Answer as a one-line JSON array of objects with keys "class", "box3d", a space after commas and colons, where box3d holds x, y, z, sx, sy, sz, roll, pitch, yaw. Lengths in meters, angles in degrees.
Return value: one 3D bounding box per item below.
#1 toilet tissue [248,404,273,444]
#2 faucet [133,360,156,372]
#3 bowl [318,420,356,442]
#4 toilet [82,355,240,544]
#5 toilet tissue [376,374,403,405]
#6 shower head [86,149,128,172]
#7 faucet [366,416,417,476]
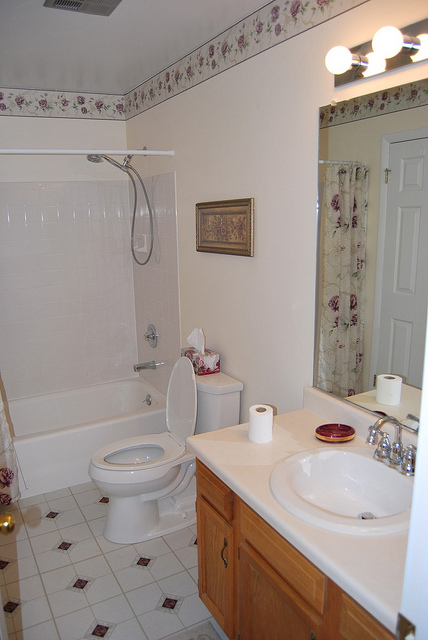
[{"class": "toilet tissue", "box3d": [0.153, 0.342, 1.541, 0.082, 0.112, 0.102, -4, 14, -24]}, {"class": "faucet", "box3d": [-0.475, 0.319, 3.131, 0.144, 0.082, 0.087, -6, 11, -27]}, {"class": "bowl", "box3d": [0.406, 0.373, 1.503, 0.113, 0.029, 0.115, -2, 8, 0]}, {"class": "toilet", "box3d": [-0.319, 0.653, 2.793, 1.042, 1.249, 0.583, -6, 11, -39]}, {"class": "toilet tissue", "box3d": [0.533, 0.210, 1.420, 0.077, 0.091, 0.078, 1, 7, 8]}, {"class": "shower head", "box3d": [-0.625, -0.938, 2.708, 0.107, 0.142, 0.274, -8, 0, 36]}, {"class": "faucet", "box3d": [0.509, 0.320, 1.306, 0.123, 0.146, 0.233, 2, 8, 24]}]
